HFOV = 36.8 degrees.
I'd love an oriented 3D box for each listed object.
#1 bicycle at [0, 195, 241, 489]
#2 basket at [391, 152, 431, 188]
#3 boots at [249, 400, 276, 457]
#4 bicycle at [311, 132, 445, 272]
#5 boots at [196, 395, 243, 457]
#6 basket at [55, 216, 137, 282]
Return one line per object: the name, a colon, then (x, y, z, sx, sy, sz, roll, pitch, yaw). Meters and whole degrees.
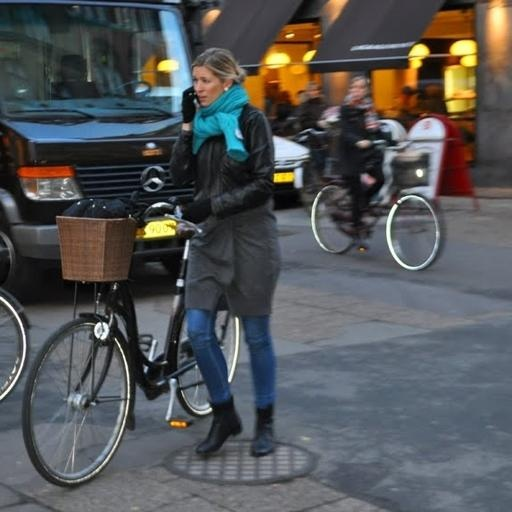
bicycle: (-0.579, 0.370, 3.663, 0.557, 1.277, 1.341, 2, 11, 14)
basket: (1.989, -1.116, 9.984, 0.639, 0.533, 0.194, -10, 15, -38)
boots: (0.039, 0.841, 3.765, 0.129, 0.226, 0.262, 0, 23, 5)
bicycle: (1.378, -0.617, 8.804, 1.101, 1.328, 2.516, 3, 7, -29)
boots: (-0.194, 0.800, 3.680, 0.119, 0.189, 0.292, 1, 13, 37)
basket: (-0.674, -0.039, 3.375, 0.371, 0.223, 0.289, 1, 2, -31)
